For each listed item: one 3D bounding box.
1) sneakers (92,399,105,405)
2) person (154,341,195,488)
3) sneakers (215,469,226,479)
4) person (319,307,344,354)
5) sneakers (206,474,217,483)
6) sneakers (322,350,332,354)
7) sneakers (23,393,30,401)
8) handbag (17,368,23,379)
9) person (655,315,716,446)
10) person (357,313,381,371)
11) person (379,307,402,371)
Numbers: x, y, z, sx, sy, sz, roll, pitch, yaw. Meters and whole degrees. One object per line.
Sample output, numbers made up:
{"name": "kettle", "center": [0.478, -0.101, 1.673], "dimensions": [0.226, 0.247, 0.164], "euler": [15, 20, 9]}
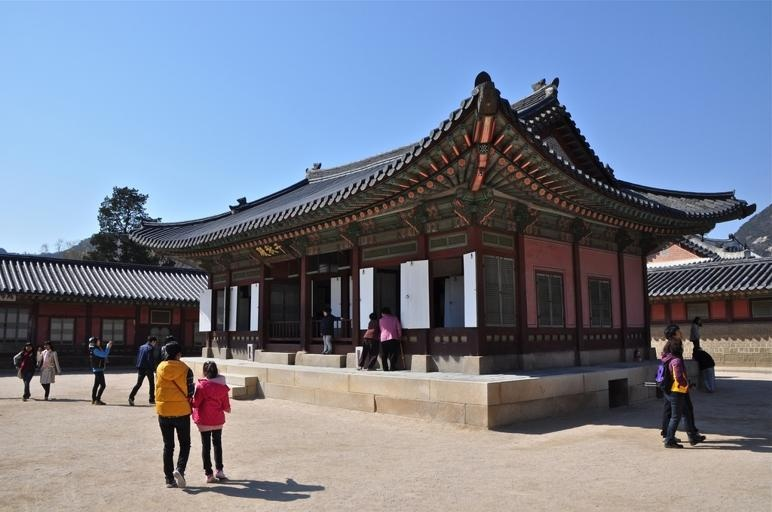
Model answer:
{"name": "sneakers", "center": [-7.842, 4.015, 17.026], "dimensions": [0.370, 0.158, 0.125], "euler": [0, -12, 0]}
{"name": "person", "center": [-3.567, 2.688, 10.597], "dimensions": [0.624, 2.400, 0.575], "euler": [0, 2, 35]}
{"name": "sneakers", "center": [-2.815, 3.757, 10.674], "dimensions": [0.137, 0.150, 0.150], "euler": [-12, 24, -5]}
{"name": "person", "center": [-1.611, 2.169, 17.935], "dimensions": [0.445, 1.259, 0.556], "euler": [0, 2, 36]}
{"name": "sneakers", "center": [-2.974, 3.814, 10.639], "dimensions": [0.103, 0.121, 0.177], "euler": [8, -34, -19]}
{"name": "sneakers", "center": [-1.685, 2.768, 17.759], "dimensions": [0.308, 0.085, 0.165], "euler": [0, 1, 27]}
{"name": "sneakers", "center": [-10.253, 4.043, 17.779], "dimensions": [0.099, 0.186, 0.197], "euler": [28, -56, -37]}
{"name": "handbag", "center": [-10.574, 3.414, 18.045], "dimensions": [0.196, 0.190, 0.041], "euler": [0, 2, 41]}
{"name": "person", "center": [5.740, 2.512, 12.169], "dimensions": [0.800, 2.256, 1.168], "euler": [0, 2, 23]}
{"name": "person", "center": [-0.432, 2.244, 16.278], "dimensions": [0.552, 1.468, 0.305], "euler": [-1, 2, -2]}
{"name": "person", "center": [0.132, 2.143, 15.978], "dimensions": [0.529, 1.602, 0.472], "euler": [-1, 2, -1]}
